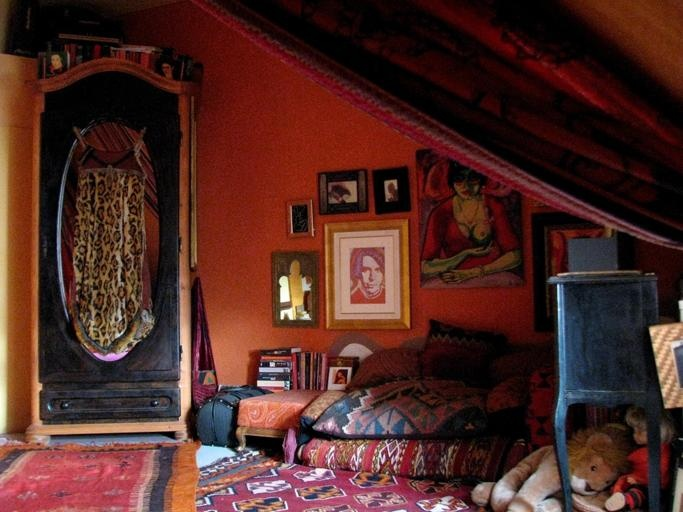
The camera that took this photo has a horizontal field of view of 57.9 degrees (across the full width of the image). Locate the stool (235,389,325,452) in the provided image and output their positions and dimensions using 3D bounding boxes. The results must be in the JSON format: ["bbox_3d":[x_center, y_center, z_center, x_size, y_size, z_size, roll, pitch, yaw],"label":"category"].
[{"bbox_3d":[-0.380,1.031,3.835,0.535,0.309,0.440,-3,-4,29],"label":"stool"}]

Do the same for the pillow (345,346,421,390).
[{"bbox_3d":[0.285,0.720,3.887,0.482,0.248,0.473,-1,-3,-8],"label":"pillow"}]

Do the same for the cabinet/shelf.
[{"bbox_3d":[0.949,0.497,2.216,0.370,0.881,0.229,-2,-3,15],"label":"cabinet/shelf"}]

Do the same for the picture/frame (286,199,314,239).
[{"bbox_3d":[-0.295,-0.276,4.462,0.275,0.325,0.032,-2,-3,26],"label":"picture/frame"}]

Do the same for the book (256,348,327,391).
[{"bbox_3d":[-0.338,0.789,4.269,0.507,0.278,0.199,-4,-4,33],"label":"book"}]

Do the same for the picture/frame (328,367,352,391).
[{"bbox_3d":[-0.009,0.826,4.112,0.153,0.144,0.017,-6,-33,18],"label":"picture/frame"}]

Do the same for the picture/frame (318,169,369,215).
[{"bbox_3d":[0.029,-0.456,4.322,0.325,0.278,0.044,0,-1,22],"label":"picture/frame"}]

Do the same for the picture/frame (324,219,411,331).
[{"bbox_3d":[0.202,0.137,4.258,0.740,0.866,0.065,-3,-6,20],"label":"picture/frame"}]

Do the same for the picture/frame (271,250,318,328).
[{"bbox_3d":[-0.331,0.243,4.479,0.526,0.720,0.050,-3,-7,24],"label":"picture/frame"}]

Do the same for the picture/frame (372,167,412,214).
[{"bbox_3d":[0.350,-0.455,4.186,0.321,0.395,0.015,-1,1,27],"label":"picture/frame"}]

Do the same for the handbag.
[{"bbox_3d":[-0.741,1.016,3.945,0.308,0.357,0.552,1,-3,9],"label":"handbag"}]
